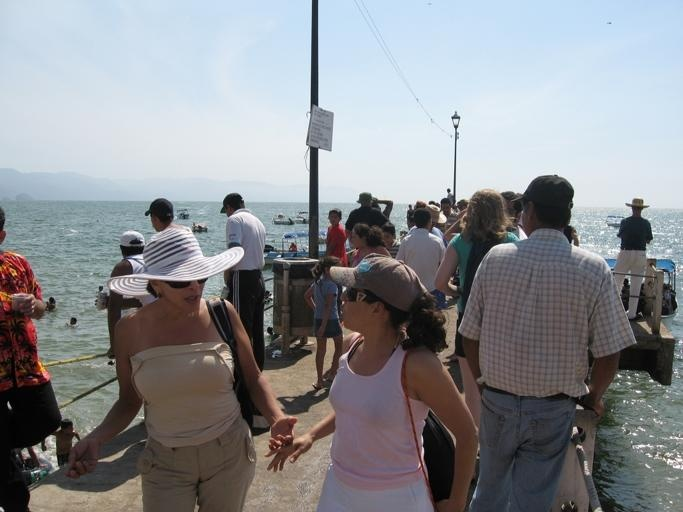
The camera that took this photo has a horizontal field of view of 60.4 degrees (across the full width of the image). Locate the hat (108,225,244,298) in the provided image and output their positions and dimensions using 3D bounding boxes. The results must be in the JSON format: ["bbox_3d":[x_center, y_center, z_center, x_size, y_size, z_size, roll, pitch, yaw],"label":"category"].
[{"bbox_3d":[-1.045,0.041,3.801,0.620,0.267,0.556,-15,2,-21],"label":"hat"}]

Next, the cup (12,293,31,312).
[{"bbox_3d":[-2.555,0.363,4.710,0.126,0.139,0.133,15,10,-3],"label":"cup"}]

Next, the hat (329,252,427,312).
[{"bbox_3d":[0.211,0.118,3.528,0.487,0.213,0.328,16,12,1],"label":"hat"}]

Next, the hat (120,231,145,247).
[{"bbox_3d":[-2.240,-0.179,6.235,0.155,0.143,0.232,1,-2,2],"label":"hat"}]

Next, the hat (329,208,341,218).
[{"bbox_3d":[-0.116,-0.725,9.818,0.140,0.182,0.200,2,5,3],"label":"hat"}]
